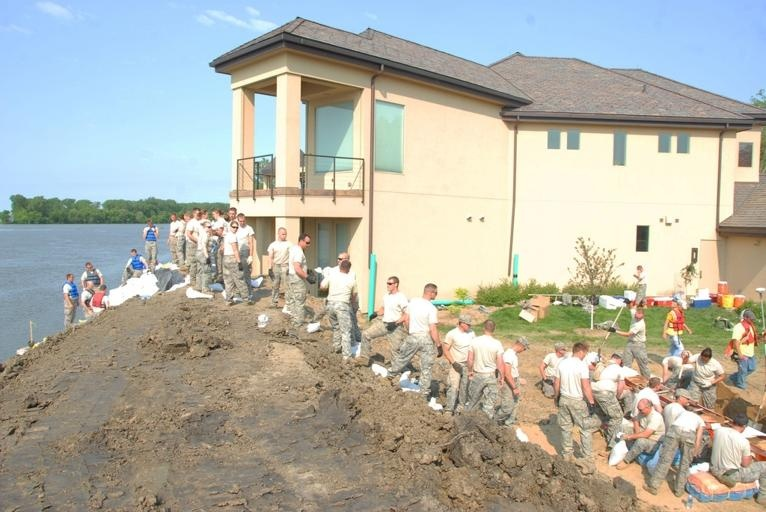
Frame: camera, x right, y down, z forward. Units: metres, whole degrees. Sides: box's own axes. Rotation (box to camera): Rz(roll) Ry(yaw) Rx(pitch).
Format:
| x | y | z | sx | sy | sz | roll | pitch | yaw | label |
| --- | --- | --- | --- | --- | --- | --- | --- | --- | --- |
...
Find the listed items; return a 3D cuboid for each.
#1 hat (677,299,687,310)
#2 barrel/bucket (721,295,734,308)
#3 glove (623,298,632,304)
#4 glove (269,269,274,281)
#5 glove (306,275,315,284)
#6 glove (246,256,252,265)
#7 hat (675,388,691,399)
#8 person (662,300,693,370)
| x | y | z | sx | sy | sz | roll | pitch | yaw | label |
| --- | --- | --- | --- | --- | --- | --- | --- | --- | --- |
| 11.993 | 1.968 | 27.291 | 0.221 | 0.737 | 0.530 | 1 | -2 | 41 | hat |
| 14.941 | 2.003 | 29.458 | 0.487 | 0.545 | 0.492 | 0 | 4 | 0 | barrel/bucket |
| 10.459 | 1.948 | 29.071 | 0.398 | 0.102 | 0.415 | -17 | 18 | -40 | glove |
| -3.611 | 0.605 | 22.054 | 0.127 | 0.362 | 0.306 | -1 | 6 | -15 | glove |
| -2.269 | 0.741 | 21.079 | 0.196 | 0.252 | 0.239 | -5 | -2 | 14 | glove |
| -4.503 | 0.162 | 22.679 | 0.071 | 0.233 | 0.175 | -1 | -3 | 25 | glove |
| 8.720 | 4.042 | 19.761 | 0.454 | 0.147 | 0.452 | -2 | 2 | -1 | hat |
| 9.688 | 2.517 | 22.545 | 0.844 | 2.327 | 0.785 | 3 | 17 | 13 | person |
